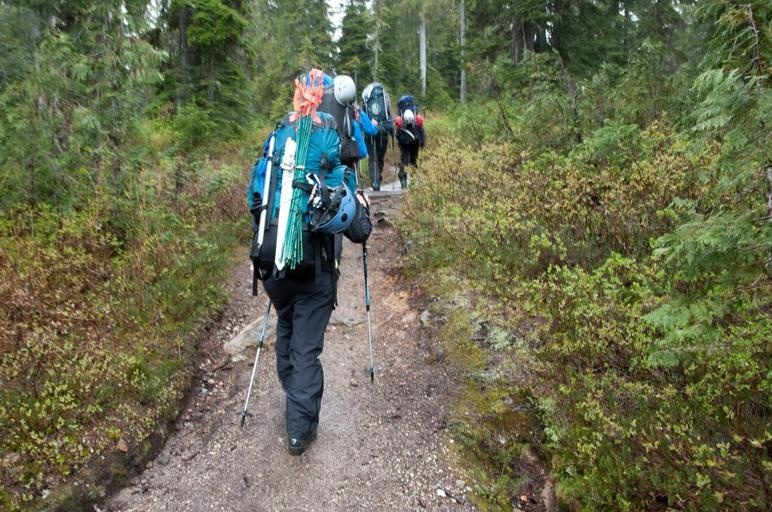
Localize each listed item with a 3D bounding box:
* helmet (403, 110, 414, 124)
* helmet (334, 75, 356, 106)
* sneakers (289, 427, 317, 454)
[{"bbox_3d":[0.615,-3.504,14.480,0.200,0.336,0.235,2,-9,-1],"label":"helmet"},{"bbox_3d":[-0.639,-2.603,9.073,0.308,0.481,0.424,2,6,-6],"label":"helmet"},{"bbox_3d":[-1.245,2.799,8.668,0.213,0.288,0.558,2,14,10],"label":"sneakers"}]
